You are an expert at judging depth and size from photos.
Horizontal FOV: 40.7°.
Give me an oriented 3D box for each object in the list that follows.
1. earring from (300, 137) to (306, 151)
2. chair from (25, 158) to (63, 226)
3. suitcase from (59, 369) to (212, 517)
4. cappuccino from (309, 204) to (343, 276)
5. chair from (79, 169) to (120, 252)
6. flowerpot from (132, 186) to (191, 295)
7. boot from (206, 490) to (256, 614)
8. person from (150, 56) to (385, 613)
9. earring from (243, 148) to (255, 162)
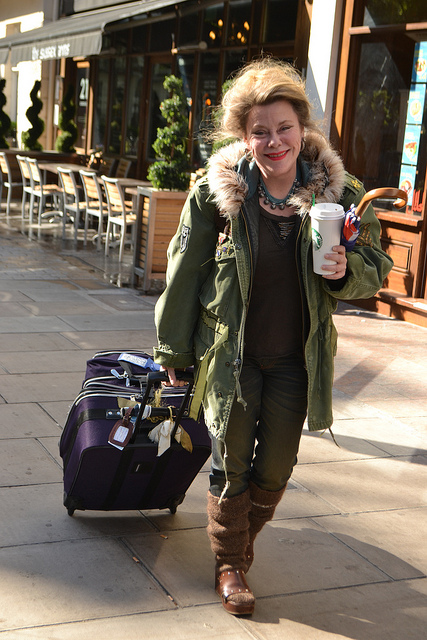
[{"bbox_3d":[0.278,-0.544,1.769,0.011,0.036,0.037,6,7,3],"label":"earring"},{"bbox_3d":[-3.687,-2.846,11.984,0.880,1.639,0.877,-14,22,-31],"label":"chair"},{"bbox_3d":[-0.288,0.460,2.154,0.561,0.743,0.418,5,43,-20],"label":"suitcase"},{"bbox_3d":[0.282,-0.200,1.458,0.083,0.164,0.090,7,7,11],"label":"cappuccino"},{"bbox_3d":[-2.051,-2.217,10.535,0.789,1.769,0.705,21,24,36],"label":"chair"},{"bbox_3d":[-0.725,-1.057,7.566,0.745,1.415,0.442,12,10,43],"label":"flowerpot"},{"bbox_3d":[0.064,0.719,1.821,0.132,0.354,0.203,3,7,-17],"label":"boot"},{"bbox_3d":[0.179,0.081,1.767,0.608,1.612,0.449,12,10,44],"label":"person"},{"bbox_3d":[0.112,-0.507,1.753,0.048,0.042,0.011,-1,-16,-19],"label":"earring"}]
